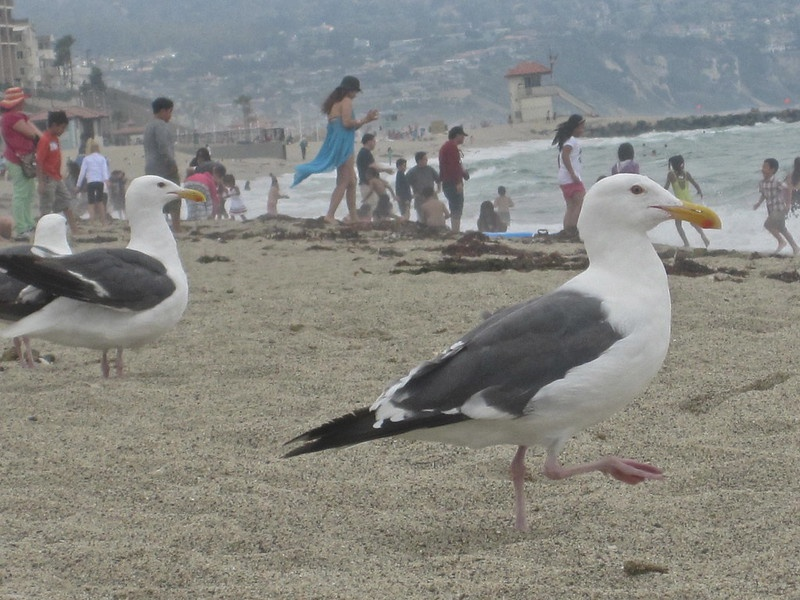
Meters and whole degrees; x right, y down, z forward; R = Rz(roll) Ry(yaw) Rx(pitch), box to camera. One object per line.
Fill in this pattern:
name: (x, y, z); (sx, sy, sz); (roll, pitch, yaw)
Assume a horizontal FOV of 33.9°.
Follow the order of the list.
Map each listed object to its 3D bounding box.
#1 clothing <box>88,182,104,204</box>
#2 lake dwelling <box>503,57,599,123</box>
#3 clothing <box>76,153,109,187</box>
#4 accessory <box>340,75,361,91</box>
clothing: (-4.545, -1.576, 19.401); (0.279, 0.170, 0.521); (8, -21, -16)
lake dwelling: (10.017, -12.736, 80.495); (6.945, 3.464, 3.796); (-2, 7, 14)
clothing: (-4.507, -1.861, 19.090); (0.534, 0.412, 0.533); (-1, -2, -19)
accessory: (-0.669, -2.794, 17.099); (0.223, 0.131, 0.270); (3, 17, 11)
